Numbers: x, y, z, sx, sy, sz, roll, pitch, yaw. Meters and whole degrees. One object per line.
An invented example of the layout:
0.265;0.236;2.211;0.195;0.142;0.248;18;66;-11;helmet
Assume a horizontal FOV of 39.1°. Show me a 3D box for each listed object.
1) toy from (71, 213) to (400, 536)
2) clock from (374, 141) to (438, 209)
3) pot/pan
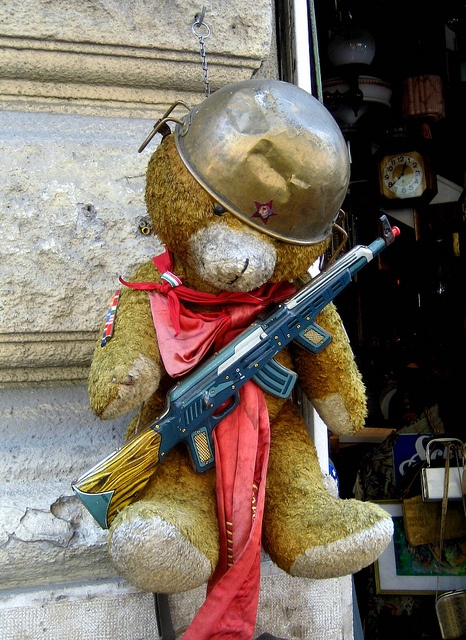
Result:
0.000;0.073;1.054;0.502;0.634;0.434;-5;20;-23;toy
1.011;-0.845;3.811;0.428;0.406;0.173;3;15;25;clock
0.051;-0.227;1.010;0.359;0.224;0.353;-11;18;-32;pot/pan
